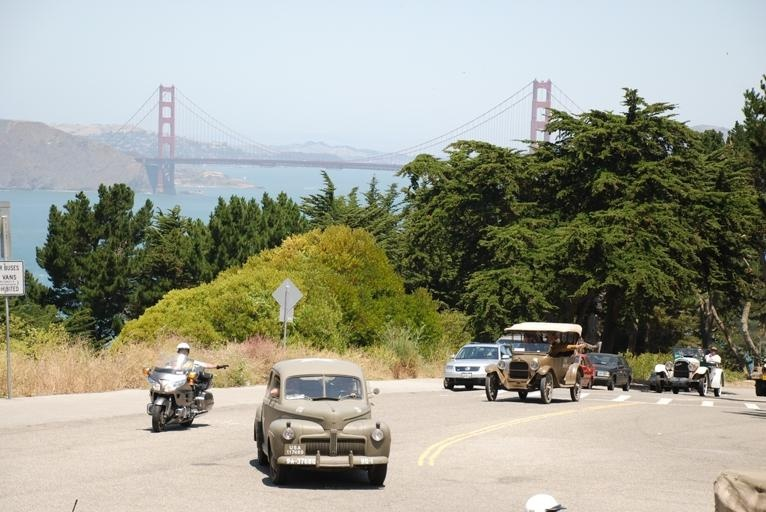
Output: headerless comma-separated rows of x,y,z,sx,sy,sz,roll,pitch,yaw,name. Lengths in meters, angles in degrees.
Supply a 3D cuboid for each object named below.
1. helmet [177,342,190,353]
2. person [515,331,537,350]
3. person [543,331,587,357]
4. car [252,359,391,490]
-5.592,2.527,22.756,0.302,0.366,0.446,2,-22,-16,helmet
5.792,3.431,32.745,0.661,0.744,0.689,2,-10,-5,person
7.248,3.544,32.883,1.263,0.949,1.684,-4,-14,12,person
-1.247,3.675,17.765,2.615,2.340,1.770,2,1,0,car
